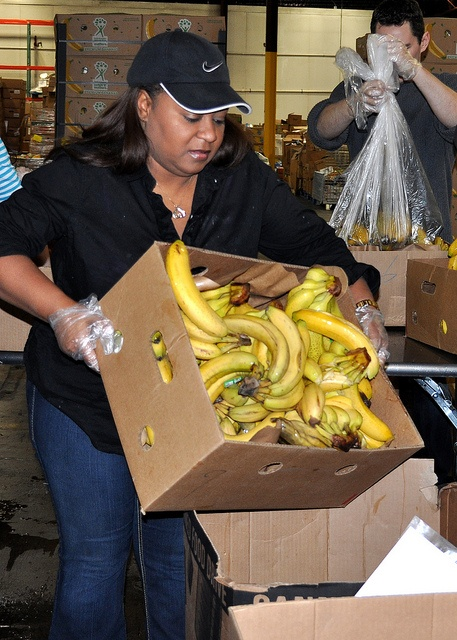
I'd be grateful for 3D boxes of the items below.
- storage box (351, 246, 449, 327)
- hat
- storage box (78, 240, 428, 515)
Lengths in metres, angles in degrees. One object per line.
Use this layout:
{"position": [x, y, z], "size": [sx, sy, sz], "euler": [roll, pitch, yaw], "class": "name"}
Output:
{"position": [0.632, -0.154, 2.012], "size": [0.318, 0.213, 0.342], "euler": [-1, 22, 1], "class": "storage box"}
{"position": [-0.080, -0.452, 1.016], "size": [0.219, 0.118, 0.144], "euler": [26, 28, 27], "class": "hat"}
{"position": [-0.059, 0.108, 0.903], "size": [0.500, 0.319, 0.522], "euler": [-1, 52, -36], "class": "storage box"}
